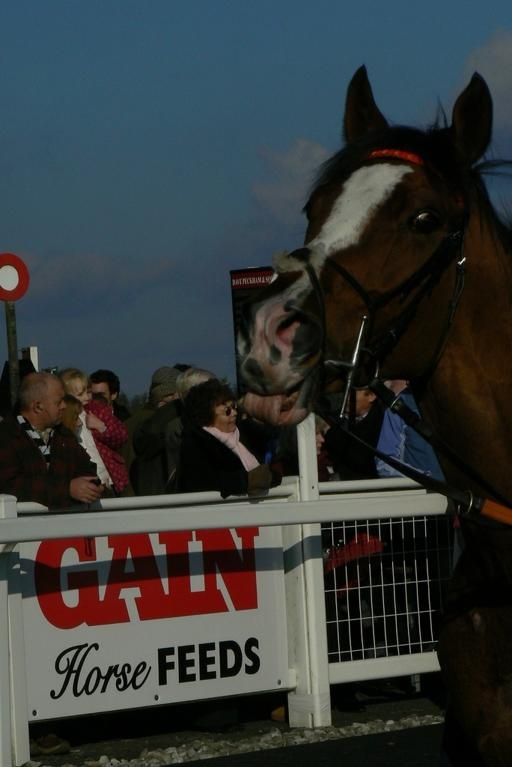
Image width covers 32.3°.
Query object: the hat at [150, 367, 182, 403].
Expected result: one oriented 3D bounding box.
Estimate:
[{"bbox_3d":[-0.513,0.019,4.991,0.197,0.166,0.148,-28,-8,32],"label":"hat"}]
